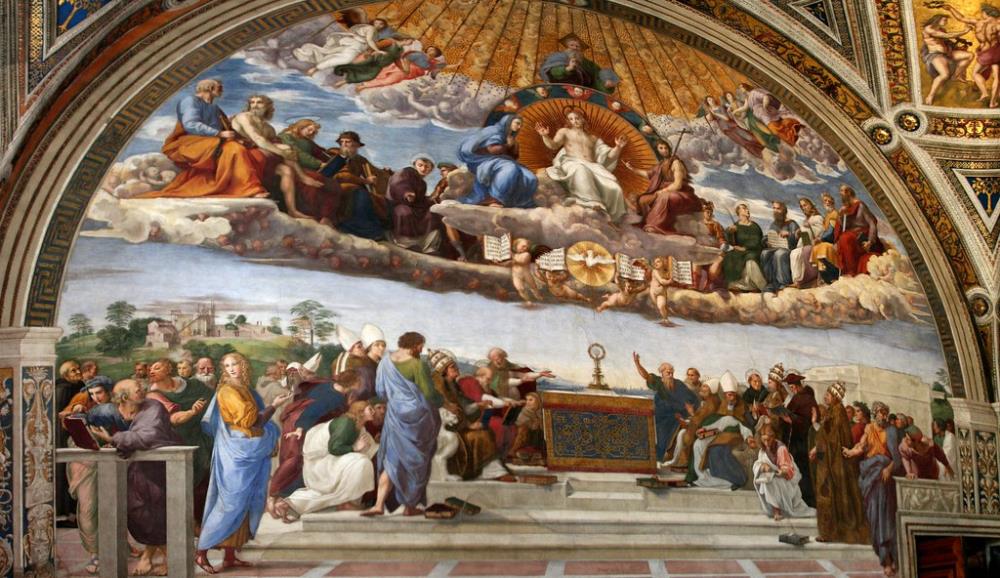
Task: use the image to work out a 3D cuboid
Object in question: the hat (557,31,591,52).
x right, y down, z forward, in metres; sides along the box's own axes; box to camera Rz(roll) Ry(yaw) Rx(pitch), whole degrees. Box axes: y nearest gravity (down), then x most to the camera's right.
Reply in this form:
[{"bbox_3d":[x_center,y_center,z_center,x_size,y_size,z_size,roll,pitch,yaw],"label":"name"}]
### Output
[{"bbox_3d":[1.283,-4.436,31.396,0.455,0.277,0.284,9,-14,-41],"label":"hat"}]
